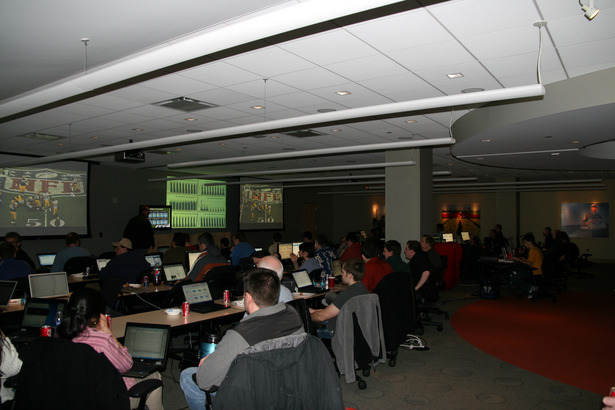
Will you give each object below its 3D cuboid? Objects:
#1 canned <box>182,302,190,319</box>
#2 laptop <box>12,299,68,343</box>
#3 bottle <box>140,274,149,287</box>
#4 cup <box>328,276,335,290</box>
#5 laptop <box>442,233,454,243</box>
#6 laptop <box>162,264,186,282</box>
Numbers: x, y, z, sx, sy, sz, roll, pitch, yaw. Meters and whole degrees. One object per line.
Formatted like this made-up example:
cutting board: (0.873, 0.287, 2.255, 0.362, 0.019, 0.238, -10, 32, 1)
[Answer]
canned: (-1.563, 1.342, 5.168, 0.076, 0.173, 0.190, 0, 3, -19)
laptop: (-3.222, 1.347, 4.834, 0.633, 0.344, 0.546, 0, -4, 9)
bottle: (-2.993, 1.395, 7.444, 0.225, 0.200, 0.213, 7, -4, -15)
cup: (0.426, 1.390, 7.215, 0.168, 0.160, 0.184, 0, -5, 0)
laptop: (4.845, 1.123, 13.914, 0.385, 0.233, 0.087, 4, -11, -43)
laptop: (-2.621, 1.333, 7.910, 0.287, 0.286, 0.430, -5, -4, 42)
